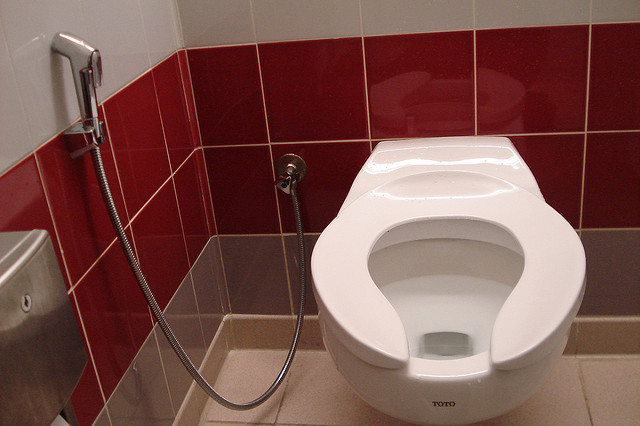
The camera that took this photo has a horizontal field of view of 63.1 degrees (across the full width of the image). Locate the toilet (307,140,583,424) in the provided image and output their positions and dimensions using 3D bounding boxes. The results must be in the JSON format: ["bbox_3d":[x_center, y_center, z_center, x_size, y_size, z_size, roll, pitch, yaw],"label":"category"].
[{"bbox_3d":[0.323,0.199,1.356,0.535,0.495,0.735,-5,48,12],"label":"toilet"}]
